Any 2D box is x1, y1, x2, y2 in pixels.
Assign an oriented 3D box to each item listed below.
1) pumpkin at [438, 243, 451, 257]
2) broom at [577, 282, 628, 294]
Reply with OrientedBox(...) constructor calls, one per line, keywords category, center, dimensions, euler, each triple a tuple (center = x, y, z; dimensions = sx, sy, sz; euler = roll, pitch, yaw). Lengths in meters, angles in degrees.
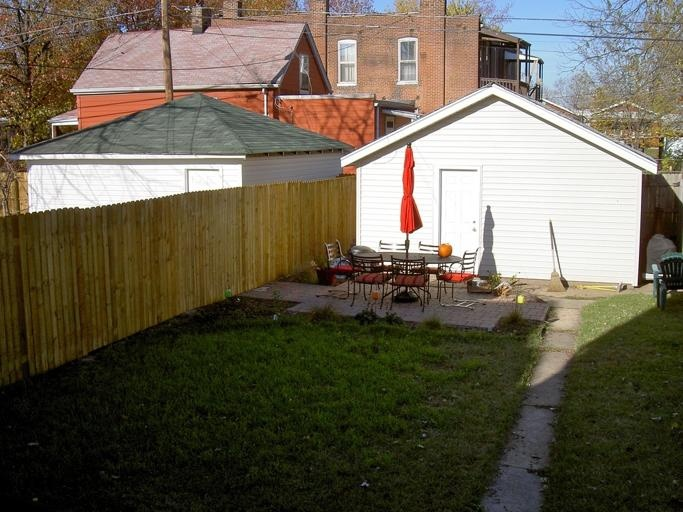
OrientedBox(category="pumpkin", center=(2.392, -0.128, 16.735), dimensions=(0.273, 0.266, 0.262), euler=(-2, -1, -36))
OrientedBox(category="broom", center=(6.634, 0.774, 18.288), dimensions=(1.252, 0.165, 0.836), euler=(8, 16, 22))
